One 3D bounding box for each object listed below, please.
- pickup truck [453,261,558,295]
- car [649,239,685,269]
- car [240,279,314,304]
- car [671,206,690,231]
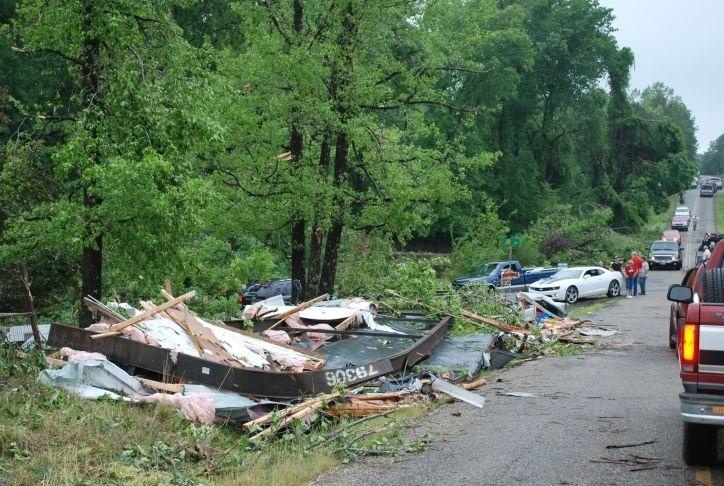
[{"bbox_3d":[6.239,1.360,35.207,4.198,1.412,1.843,1,-4,-25],"label":"pickup truck"},{"bbox_3d":[17.572,0.641,46.857,1.162,1.030,2.466,-3,-8,24],"label":"car"},{"bbox_3d":[-3.428,2.069,32.693,2.661,1.069,1.254,-10,8,-20],"label":"car"},{"bbox_3d":[28.163,-2.119,72.021,1.679,1.754,4.694,-2,-2,23],"label":"car"}]
